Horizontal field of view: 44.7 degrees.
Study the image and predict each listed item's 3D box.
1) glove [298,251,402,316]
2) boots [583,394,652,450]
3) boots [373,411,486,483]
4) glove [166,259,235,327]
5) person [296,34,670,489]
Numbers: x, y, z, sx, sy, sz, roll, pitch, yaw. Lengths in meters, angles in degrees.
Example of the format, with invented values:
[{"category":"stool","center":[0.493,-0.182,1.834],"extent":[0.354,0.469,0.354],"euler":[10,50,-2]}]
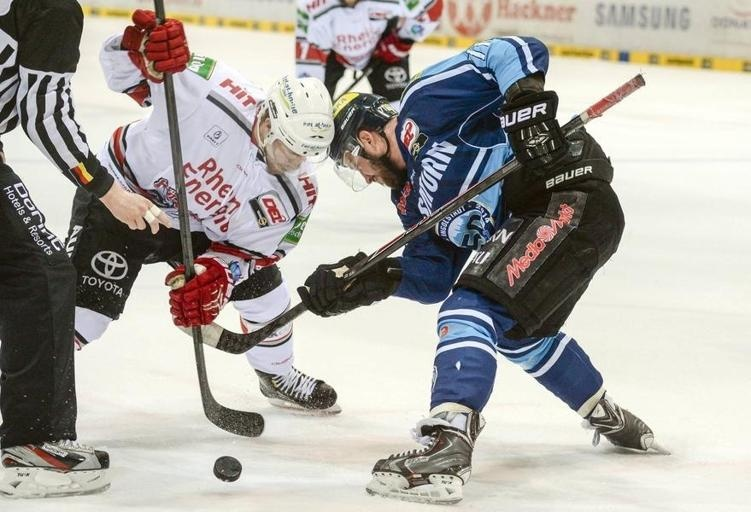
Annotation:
[{"category":"glove","center":[-0.102,0.125,3.896],"extent":[0.374,0.158,0.270],"euler":[-19,33,5]},{"category":"boots","center":[1.048,0.751,4.007],"extent":[0.284,0.118,0.215],"euler":[30,54,-1]},{"category":"boots","center":[0.202,0.738,3.508],"extent":[0.498,0.269,0.169],"euler":[-6,-22,22]},{"category":"glove","center":[-0.760,0.127,4.058],"extent":[0.334,0.279,0.240],"euler":[-14,26,-39]},{"category":"person","center":[0.411,0.016,3.663],"extent":[1.365,1.774,0.931],"euler":[12,14,26]}]
